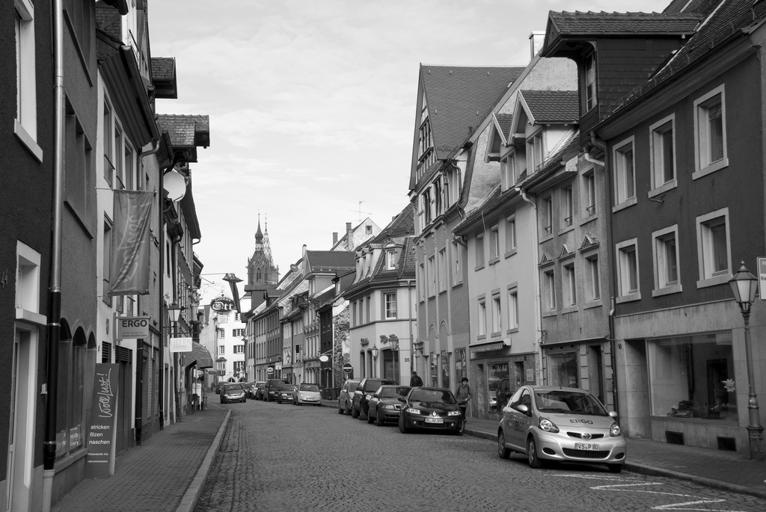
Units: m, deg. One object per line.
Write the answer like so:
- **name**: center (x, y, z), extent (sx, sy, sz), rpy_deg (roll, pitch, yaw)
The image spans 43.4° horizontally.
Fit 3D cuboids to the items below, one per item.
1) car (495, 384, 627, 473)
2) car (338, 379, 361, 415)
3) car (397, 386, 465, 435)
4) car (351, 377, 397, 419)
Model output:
- **car**: center (4.126, 4.089, 23.012), extent (1.956, 2.200, 3.082), rpy_deg (11, -19, -36)
- **car**: center (-1.660, 7.005, 47.741), extent (1.118, 1.049, 1.926), rpy_deg (2, -14, -12)
- **car**: center (1.623, 5.306, 33.328), extent (2.134, 1.620, 1.394), rpy_deg (-1, -15, 4)
- **car**: center (-0.530, 6.148, 42.403), extent (1.180, 1.160, 2.358), rpy_deg (3, -13, -13)
